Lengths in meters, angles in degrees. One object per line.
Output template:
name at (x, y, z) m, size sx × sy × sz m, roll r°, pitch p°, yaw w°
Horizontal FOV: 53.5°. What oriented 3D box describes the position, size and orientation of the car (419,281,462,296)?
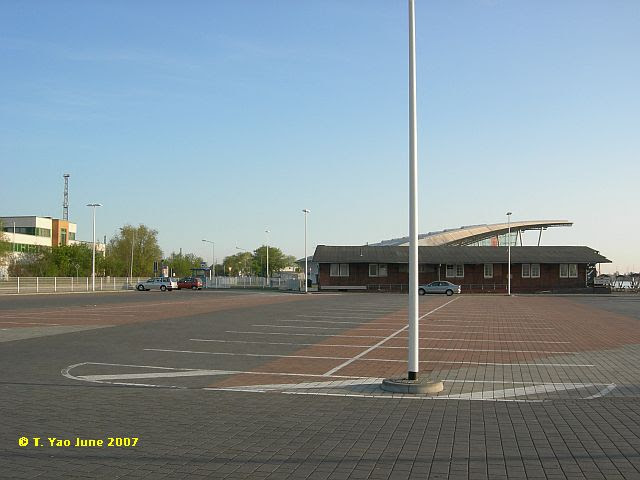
car at (11.811, 4.786, 63.076) m, size 4.355 × 1.359 × 1.733 m, roll 0°, pitch -3°, yaw -17°
